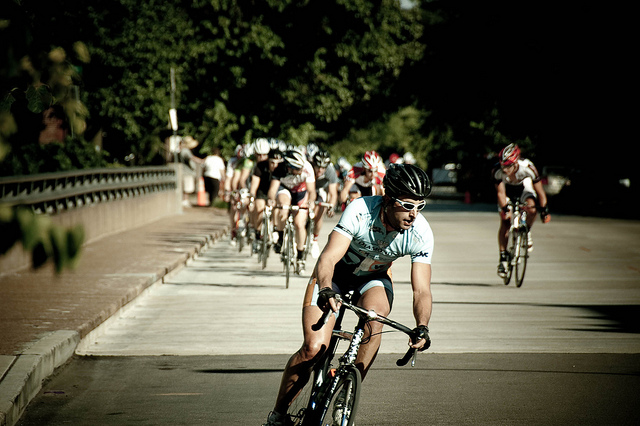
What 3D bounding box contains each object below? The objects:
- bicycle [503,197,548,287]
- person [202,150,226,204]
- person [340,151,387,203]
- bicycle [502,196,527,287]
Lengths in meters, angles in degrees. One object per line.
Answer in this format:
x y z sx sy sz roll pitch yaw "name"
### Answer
3.465 0.616 13.620 0.725 1.423 2.158 10 -7 14 "bicycle"
-3.793 -1.382 28.738 0.670 1.442 1.912 -12 6 -14 "person"
0.975 -0.679 15.805 0.724 0.784 1.345 22 32 -8 "person"
3.233 0.539 13.032 0.467 1.161 1.402 -9 7 14 "bicycle"
